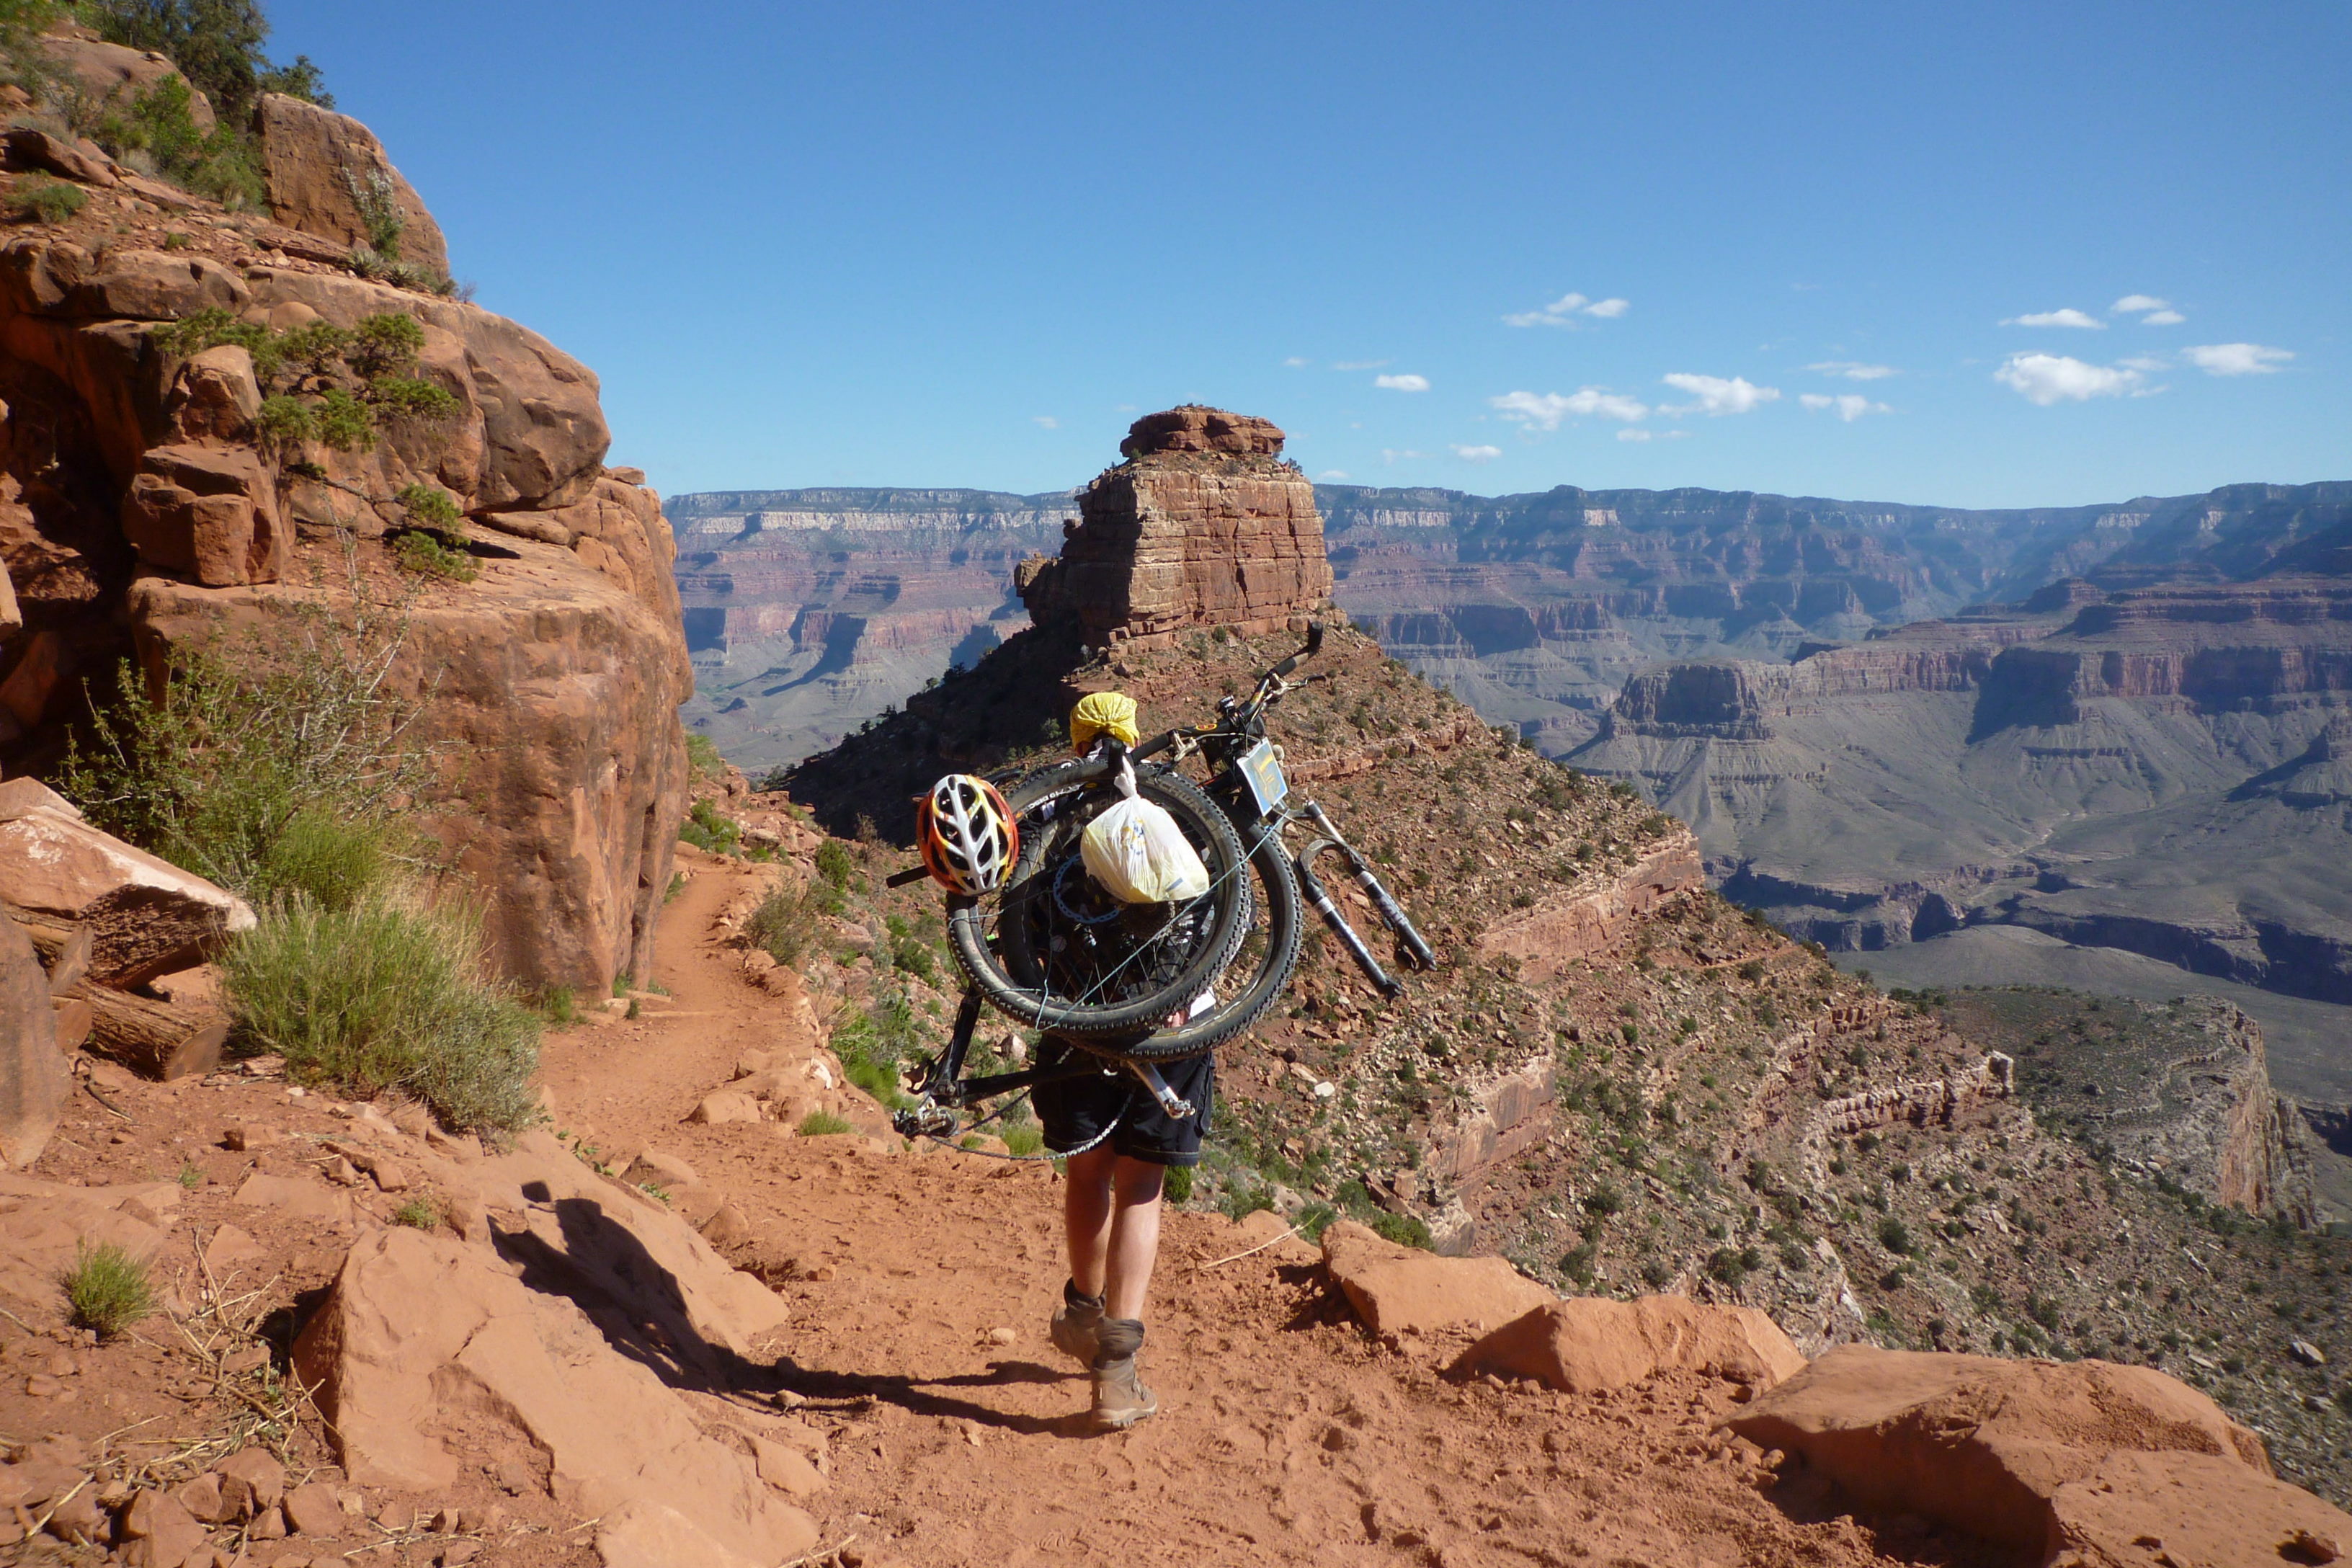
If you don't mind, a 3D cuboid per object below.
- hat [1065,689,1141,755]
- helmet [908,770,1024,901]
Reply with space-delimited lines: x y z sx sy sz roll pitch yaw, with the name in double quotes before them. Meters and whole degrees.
"hat" -0.402 -0.326 8.283 0.289 0.352 0.377 -1 -16 4
"helmet" -1.033 0.268 7.644 0.421 0.639 0.552 12 6 26
